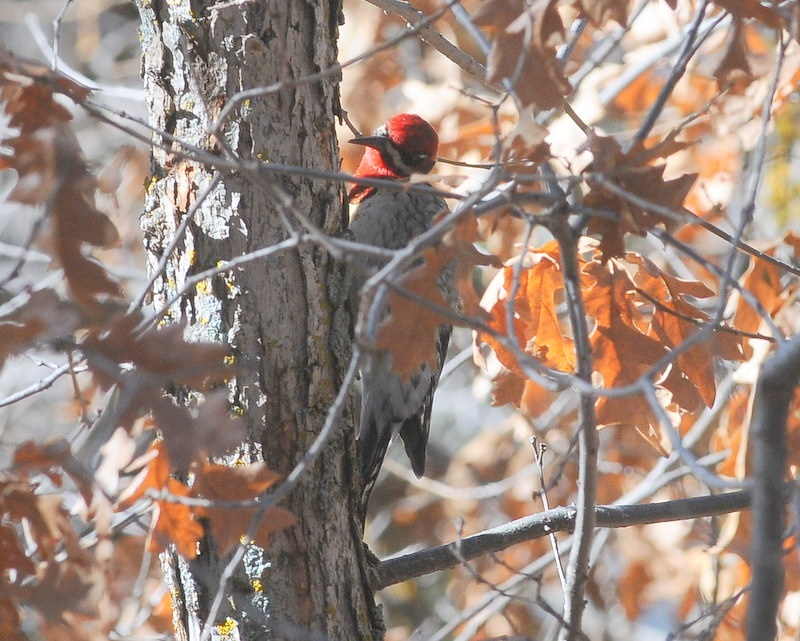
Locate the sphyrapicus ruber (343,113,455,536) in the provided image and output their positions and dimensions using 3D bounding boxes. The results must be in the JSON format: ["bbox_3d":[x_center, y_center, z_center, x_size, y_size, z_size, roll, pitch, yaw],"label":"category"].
[{"bbox_3d":[0.020,-0.014,7.947,0.813,0.536,2.086,3,-92,-5],"label":"sphyrapicus ruber"}]
